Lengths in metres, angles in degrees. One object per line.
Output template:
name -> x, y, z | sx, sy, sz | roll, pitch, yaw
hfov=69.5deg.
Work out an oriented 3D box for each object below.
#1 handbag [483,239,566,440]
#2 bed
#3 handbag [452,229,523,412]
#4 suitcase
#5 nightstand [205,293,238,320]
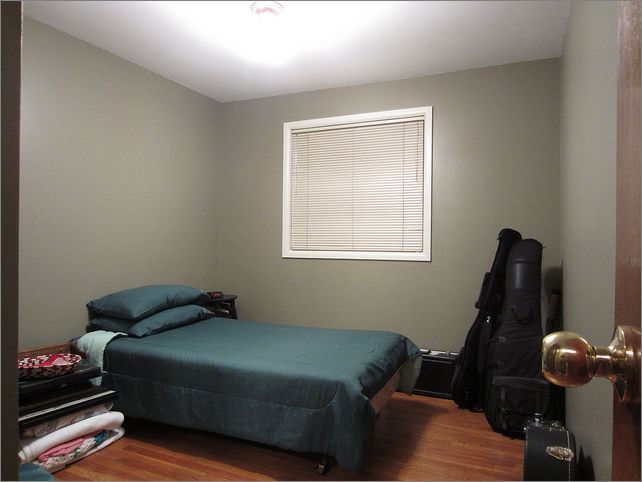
handbag -> 1.429, 0.679, 3.365 | 0.397, 1.349, 0.495 | 2, 4, 21
bed -> -0.449, 0.882, 2.974 | 1.525, 0.422, 0.988 | 0, 1, 25
handbag -> 1.255, 0.685, 3.754 | 0.410, 1.607, 0.402 | 10, -5, 13
suitcase -> 0.997, 1.169, 4.080 | 0.404, 0.369, 0.222 | 0, -4, 28
nightstand -> -0.976, 0.646, 4.632 | 0.269, 0.293, 0.285 | 1, 2, 31
